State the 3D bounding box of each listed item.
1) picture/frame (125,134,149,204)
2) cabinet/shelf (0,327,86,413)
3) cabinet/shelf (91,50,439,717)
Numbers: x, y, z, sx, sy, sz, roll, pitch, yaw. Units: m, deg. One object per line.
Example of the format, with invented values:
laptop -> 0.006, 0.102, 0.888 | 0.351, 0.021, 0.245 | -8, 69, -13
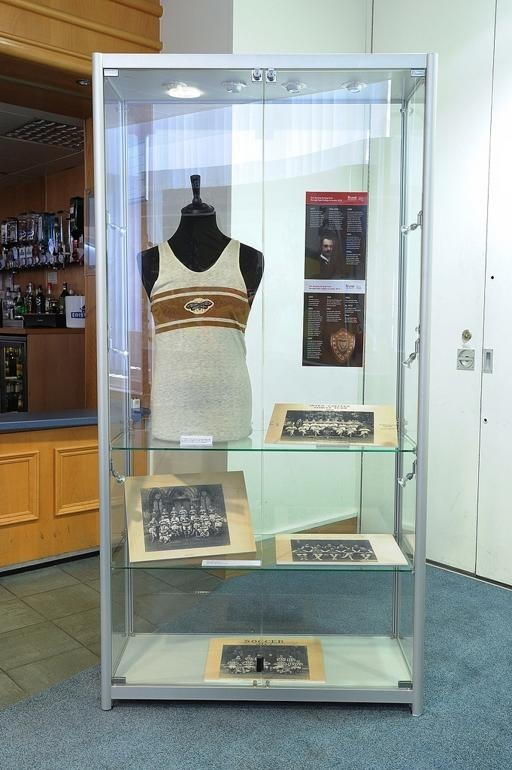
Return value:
picture/frame -> -0.334, -0.586, 1.684 | 0.022, 0.211, 0.078 | 28, 37, 33
cabinet/shelf -> -1.418, -0.114, 4.363 | 0.388, 0.570, 0.152 | 0, 0, -20
cabinet/shelf -> 0.011, 0.036, 1.976 | 0.923, 1.847, 0.582 | -1, 9, -3
